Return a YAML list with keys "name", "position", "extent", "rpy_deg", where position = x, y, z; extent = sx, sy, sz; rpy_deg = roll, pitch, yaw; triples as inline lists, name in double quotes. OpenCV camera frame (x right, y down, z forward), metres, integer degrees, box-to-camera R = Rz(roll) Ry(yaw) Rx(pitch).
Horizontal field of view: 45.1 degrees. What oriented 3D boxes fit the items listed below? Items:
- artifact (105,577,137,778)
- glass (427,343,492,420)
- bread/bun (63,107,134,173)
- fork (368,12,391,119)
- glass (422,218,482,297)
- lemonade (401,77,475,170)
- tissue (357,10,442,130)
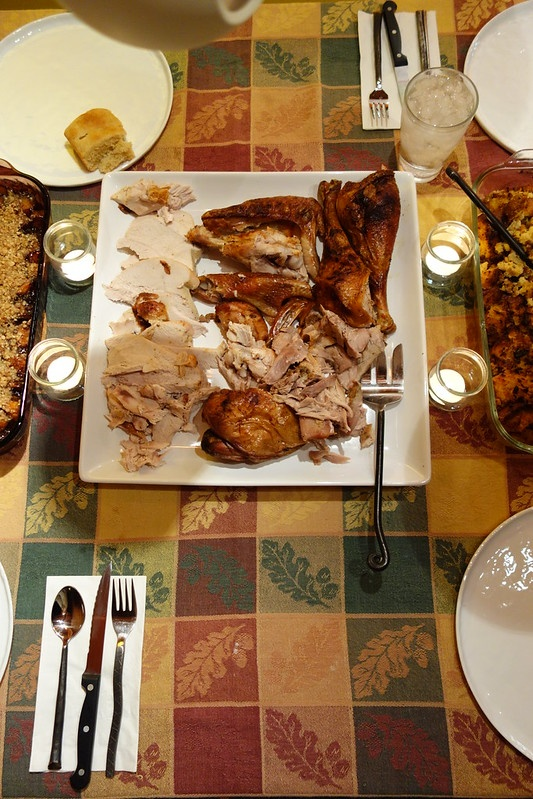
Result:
- name: "artifact"
  position: [-0.420, 0.791, 1.857]
  extent: [0.069, 0.042, 0.515]
  rpy_deg: [2, 73, -1]
- name: "glass"
  position: [0.596, -0.065, 2.041]
  extent: [0.188, 0.207, 0.193]
  rpy_deg: [-40, 82, 1]
- name: "bread/bun"
  position: [-0.589, -0.902, 2.237]
  extent: [0.192, 0.161, 0.186]
  rpy_deg: [-27, 58, -8]
- name: "fork"
  position: [0.409, -1.163, 2.282]
  extent: [0.059, 0.047, 0.387]
  rpy_deg: [-1, 90, 3]
- name: "glass"
  position: [0.584, -0.463, 2.177]
  extent: [0.181, 0.239, 0.234]
  rpy_deg: [7, 90, 6]
- name: "lemonade"
  position: [0.517, -0.913, 2.137]
  extent: [0.254, 0.277, 0.255]
  rpy_deg: [4, 79, 5]
- name: "tissue"
  position: [0.468, -1.134, 2.234]
  extent: [0.355, 0.075, 0.554]
  rpy_deg: [-2, 84, 3]
